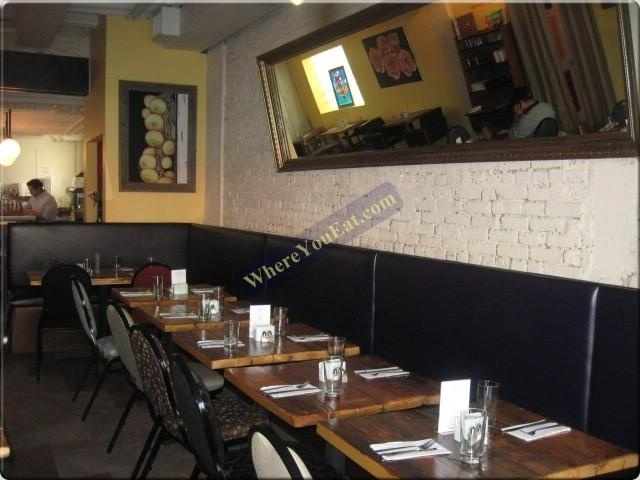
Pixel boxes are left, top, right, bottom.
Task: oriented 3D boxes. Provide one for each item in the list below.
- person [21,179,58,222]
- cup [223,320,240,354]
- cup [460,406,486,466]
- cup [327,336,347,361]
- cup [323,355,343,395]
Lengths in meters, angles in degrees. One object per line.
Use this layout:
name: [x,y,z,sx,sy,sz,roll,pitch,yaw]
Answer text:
person: [-5.114,-0.729,8.808,0.491,0.769,0.865,0,4,-31]
cup: [-0.528,0.588,2.901,0.080,0.185,0.087,2,4,0]
cup: [0.606,0.748,1.883,0.094,0.184,0.200,4,4,25]
cup: [0.094,0.586,2.576,0.095,0.151,0.105,-4,-7,35]
cup: [0.072,0.688,2.403,0.128,0.196,0.125,1,-18,0]
